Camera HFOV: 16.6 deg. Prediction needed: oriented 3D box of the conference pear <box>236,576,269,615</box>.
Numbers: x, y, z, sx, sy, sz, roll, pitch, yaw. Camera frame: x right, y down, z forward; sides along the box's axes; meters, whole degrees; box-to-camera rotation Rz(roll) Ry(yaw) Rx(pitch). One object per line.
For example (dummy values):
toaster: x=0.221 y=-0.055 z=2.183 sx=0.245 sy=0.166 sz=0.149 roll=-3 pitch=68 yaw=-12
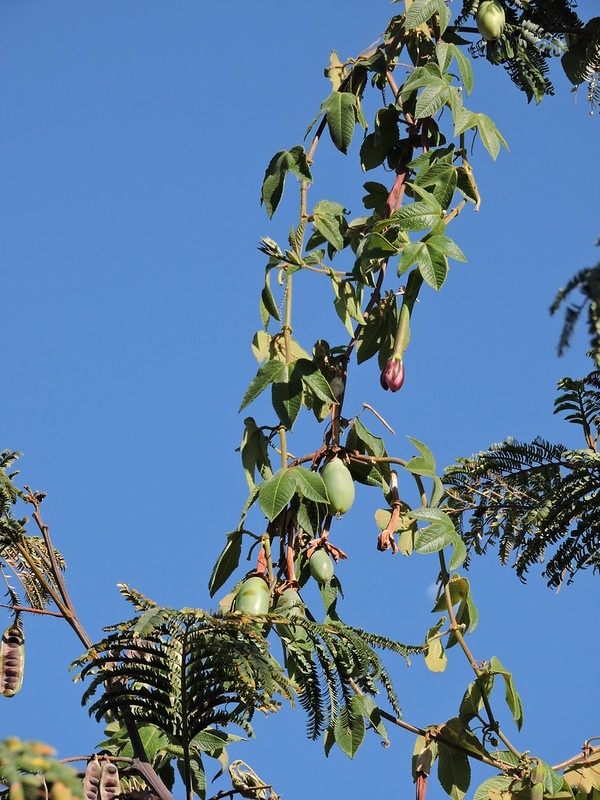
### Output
conference pear: x=-0.116 y=0.514 z=5.471 sx=0.071 sy=0.145 sz=0.087 roll=1 pitch=-55 yaw=4
